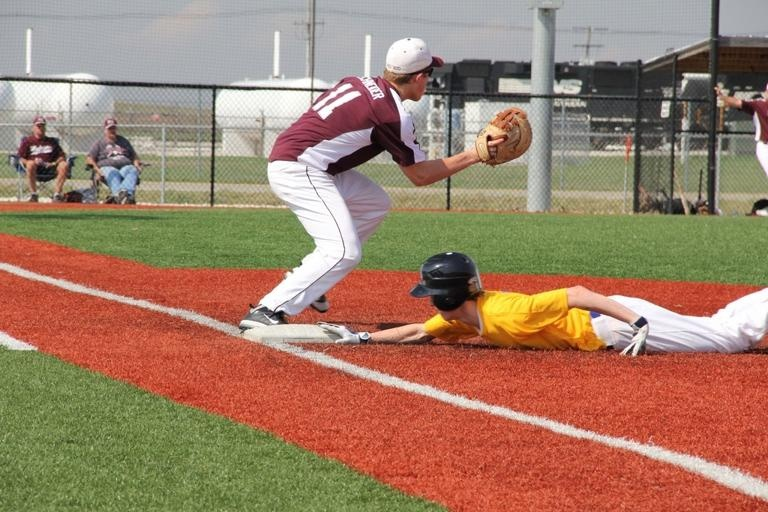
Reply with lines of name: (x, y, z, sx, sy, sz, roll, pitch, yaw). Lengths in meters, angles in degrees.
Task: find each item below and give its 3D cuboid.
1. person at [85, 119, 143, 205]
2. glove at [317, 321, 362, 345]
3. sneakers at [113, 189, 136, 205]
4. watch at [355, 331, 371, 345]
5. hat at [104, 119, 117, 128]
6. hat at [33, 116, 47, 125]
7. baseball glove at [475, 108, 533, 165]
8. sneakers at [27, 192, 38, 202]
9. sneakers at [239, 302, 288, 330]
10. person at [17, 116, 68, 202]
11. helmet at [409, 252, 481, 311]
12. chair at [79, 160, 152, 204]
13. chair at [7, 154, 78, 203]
person: (-4.167, -1.462, 17.721, 0.778, 1.307, 0.662, 0, 5, -14)
glove: (-0.320, 0.579, 8.535, 0.398, 0.138, 0.113, 4, 1, 13)
sneakers: (-4.032, -0.915, 17.839, 0.366, 0.154, 0.178, 2, 13, 16)
watch: (-0.155, 0.609, 8.533, 0.100, 0.089, 0.071, -4, 9, -33)
hat: (-4.143, -2.011, 17.430, 0.195, 0.089, 0.262, -3, 8, -13)
hat: (-5.167, -2.039, 17.253, 0.153, 0.098, 0.202, 0, 8, -19)
baseball glove: (0.900, -0.876, 8.634, 0.489, 0.331, 0.231, -32, -17, -2)
sneakers: (-5.384, -0.905, 17.528, 0.213, 0.179, 0.122, 7, 7, 7)
sneakers: (-0.922, 0.464, 8.651, 0.459, 0.179, 0.144, -1, 2, -15)
person: (-5.208, -1.476, 17.633, 0.736, 1.300, 0.904, 0, 5, -17)
helmet: (0.472, 0.168, 8.384, 0.548, 0.362, 0.379, 1, 6, 4)
chair: (-4.370, -1.148, 18.385, 0.888, 0.970, 1.049, -3, 1, -35)
chair: (-5.432, -1.227, 18.305, 1.194, 1.002, 0.828, 0, -4, -21)
